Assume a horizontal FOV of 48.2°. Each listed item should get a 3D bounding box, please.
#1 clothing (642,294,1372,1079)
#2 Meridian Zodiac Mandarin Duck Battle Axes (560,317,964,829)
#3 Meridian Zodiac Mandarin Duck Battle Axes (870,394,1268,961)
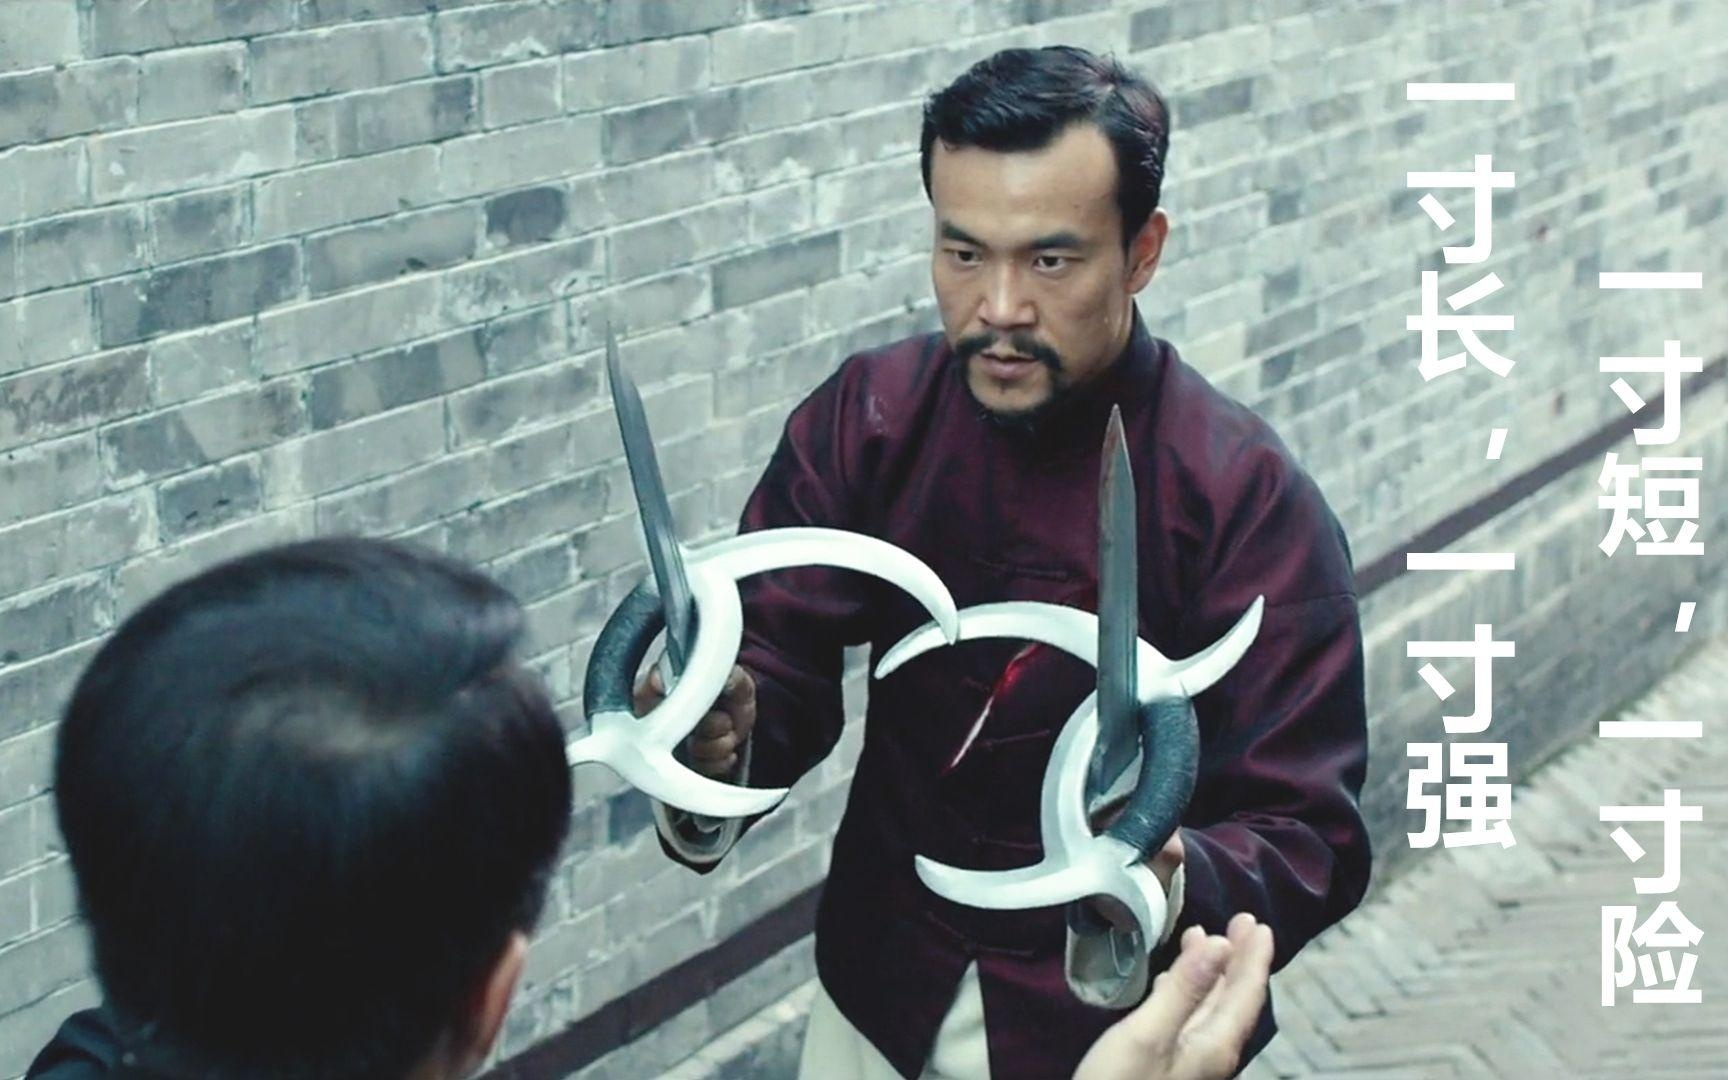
[{"bbox_3d":[0.212,0.311,4.013,1.325,1.565,1.026,18,39,15],"label":"clothing"},{"bbox_3d":[-0.318,0.075,3.610,0.789,0.860,0.047,-20,-7,12],"label":"Meridian Zodiac Mandarin Duck Battle Axes"},{"bbox_3d":[0.425,0.237,3.740,0.450,0.945,0.537,12,49,15],"label":"Meridian Zodiac Mandarin Duck Battle Axes"}]
